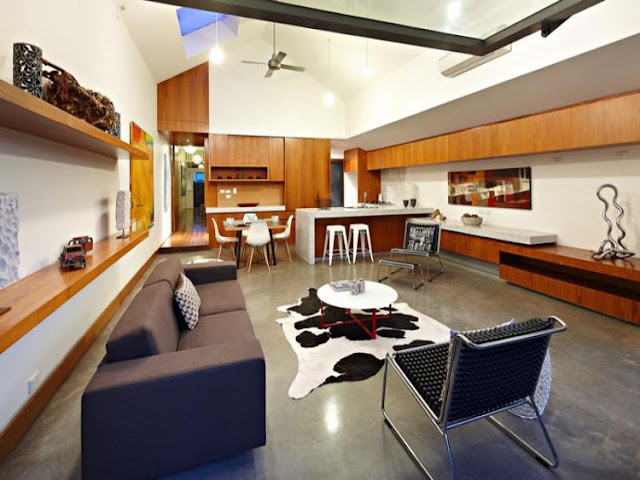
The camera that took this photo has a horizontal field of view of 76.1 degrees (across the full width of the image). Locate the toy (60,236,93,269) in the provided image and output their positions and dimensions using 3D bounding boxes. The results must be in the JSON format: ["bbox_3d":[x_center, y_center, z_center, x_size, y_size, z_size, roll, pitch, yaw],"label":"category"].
[{"bbox_3d":[-2.080,0.048,3.550,0.196,0.178,0.351,13,28,-22],"label":"toy"}]

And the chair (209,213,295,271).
[{"bbox_3d":[-1.282,-0.069,7.749,1.154,0.684,1.222,-2,10,-20],"label":"chair"}]

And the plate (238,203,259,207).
[{"bbox_3d":[-1.676,-0.833,9.651,0.501,0.089,0.443,-3,10,-17],"label":"plate"}]

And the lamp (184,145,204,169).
[{"bbox_3d":[-4.753,-3.171,15.482,0.871,0.940,0.229,7,14,24],"label":"lamp"}]

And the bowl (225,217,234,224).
[{"bbox_3d":[-1.768,-0.380,8.000,0.201,0.169,0.206,-1,4,0],"label":"bowl"}]

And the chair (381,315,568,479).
[{"bbox_3d":[1.172,1.086,3.392,0.956,1.452,1.355,-5,7,-13],"label":"chair"}]

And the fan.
[{"bbox_3d":[-0.720,-3.166,6.603,0.563,0.836,0.533,-3,-7,25],"label":"fan"}]

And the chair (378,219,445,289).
[{"bbox_3d":[1.521,0.218,6.677,0.690,0.962,1.123,8,14,37],"label":"chair"}]

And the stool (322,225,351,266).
[{"bbox_3d":[0.362,0.071,7.842,0.601,0.947,0.641,-2,6,-14],"label":"stool"}]

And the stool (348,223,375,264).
[{"bbox_3d":[0.759,0.061,7.860,0.571,0.707,0.583,5,12,32],"label":"stool"}]

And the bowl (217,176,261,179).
[{"bbox_3d":[-1.858,-1.459,9.528,1.012,0.082,0.345,-3,10,-15],"label":"bowl"}]

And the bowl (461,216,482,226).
[{"bbox_3d":[2.703,-0.304,7.254,0.219,0.106,0.216,0,1,0],"label":"bowl"}]

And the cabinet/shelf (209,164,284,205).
[{"bbox_3d":[-1.558,-1.480,10.027,0.286,1.229,2.328,19,6,4],"label":"cabinet/shelf"}]

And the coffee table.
[{"bbox_3d":[0.445,0.722,4.530,0.648,0.277,0.690,-2,14,-18],"label":"coffee table"}]

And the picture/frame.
[{"bbox_3d":[2.995,-0.932,7.310,0.059,0.734,1.836,-4,11,-23],"label":"picture/frame"}]

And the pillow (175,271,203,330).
[{"bbox_3d":[-1.228,0.583,3.816,0.102,0.252,0.420,-24,24,-5],"label":"pillow"}]
